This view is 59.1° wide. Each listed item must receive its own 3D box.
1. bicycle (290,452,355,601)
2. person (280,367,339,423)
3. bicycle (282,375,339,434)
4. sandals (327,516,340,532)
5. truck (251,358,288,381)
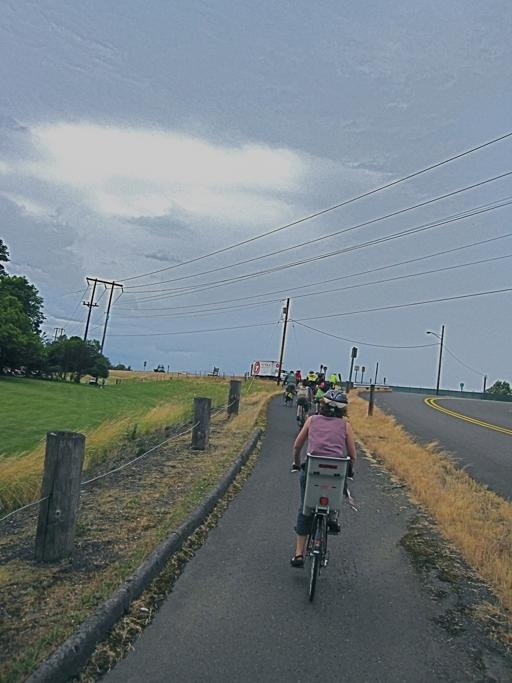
[{"bbox_3d":[0.711,1.743,4.357,0.482,0.723,1.253,5,-43,12],"label":"bicycle"},{"bbox_3d":[1.598,1.775,13.708,1.065,1.531,2.352,5,-3,9],"label":"person"},{"bbox_3d":[1.535,1.829,13.525,1.060,1.487,2.311,2,-3,7],"label":"bicycle"},{"bbox_3d":[0.751,1.738,4.404,0.061,0.114,0.179,-1,34,-1],"label":"sandals"},{"bbox_3d":[1.427,4.608,68.379,5.676,3.420,3.095,1,1,8],"label":"truck"}]
